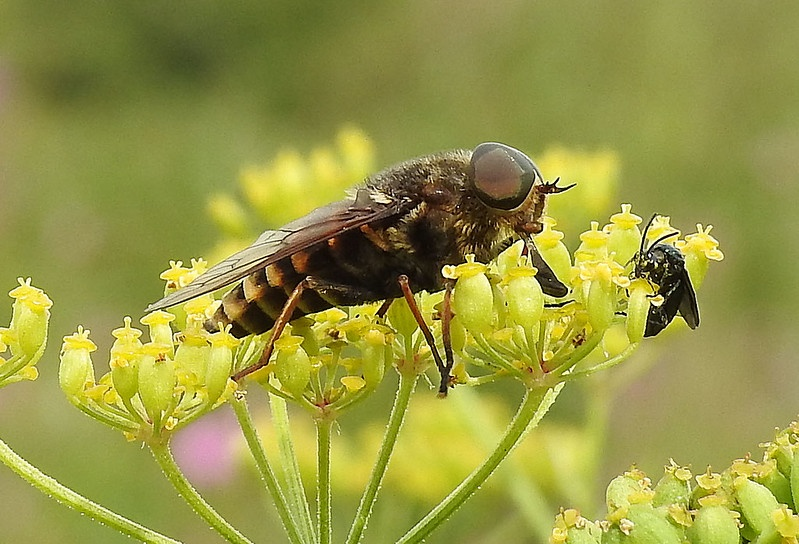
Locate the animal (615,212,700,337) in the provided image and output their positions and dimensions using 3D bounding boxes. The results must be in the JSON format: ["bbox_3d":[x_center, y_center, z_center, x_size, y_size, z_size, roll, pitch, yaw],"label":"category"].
[{"bbox_3d":[1.067,0.009,3.913,0.329,0.244,0.426,-5,-65,16],"label":"animal"}]

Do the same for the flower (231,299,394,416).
[{"bbox_3d":[-0.297,0.439,3.850,0.558,0.407,0.199,-35,-32,-32],"label":"flower"}]
